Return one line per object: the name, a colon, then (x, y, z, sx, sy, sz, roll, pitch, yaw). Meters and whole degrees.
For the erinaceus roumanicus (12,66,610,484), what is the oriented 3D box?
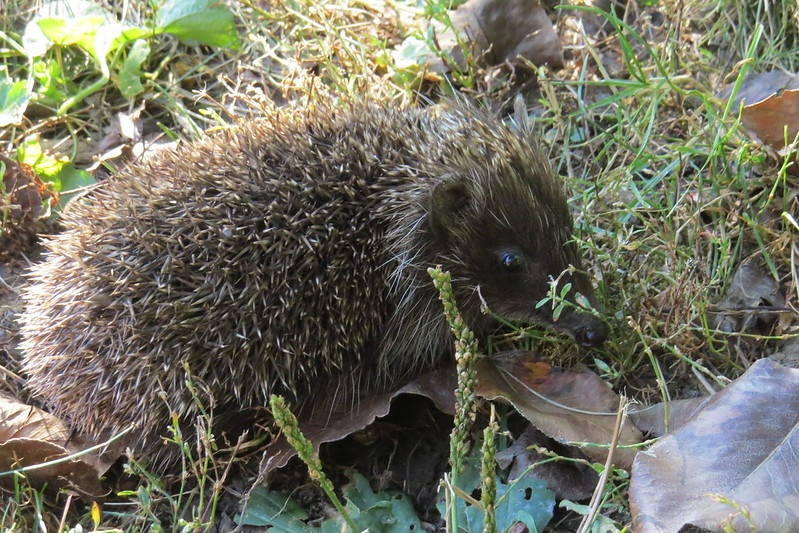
erinaceus roumanicus: (-0.602, -0.080, 5.901, 4.003, 2.244, 2.215, -9, 24, 11)
